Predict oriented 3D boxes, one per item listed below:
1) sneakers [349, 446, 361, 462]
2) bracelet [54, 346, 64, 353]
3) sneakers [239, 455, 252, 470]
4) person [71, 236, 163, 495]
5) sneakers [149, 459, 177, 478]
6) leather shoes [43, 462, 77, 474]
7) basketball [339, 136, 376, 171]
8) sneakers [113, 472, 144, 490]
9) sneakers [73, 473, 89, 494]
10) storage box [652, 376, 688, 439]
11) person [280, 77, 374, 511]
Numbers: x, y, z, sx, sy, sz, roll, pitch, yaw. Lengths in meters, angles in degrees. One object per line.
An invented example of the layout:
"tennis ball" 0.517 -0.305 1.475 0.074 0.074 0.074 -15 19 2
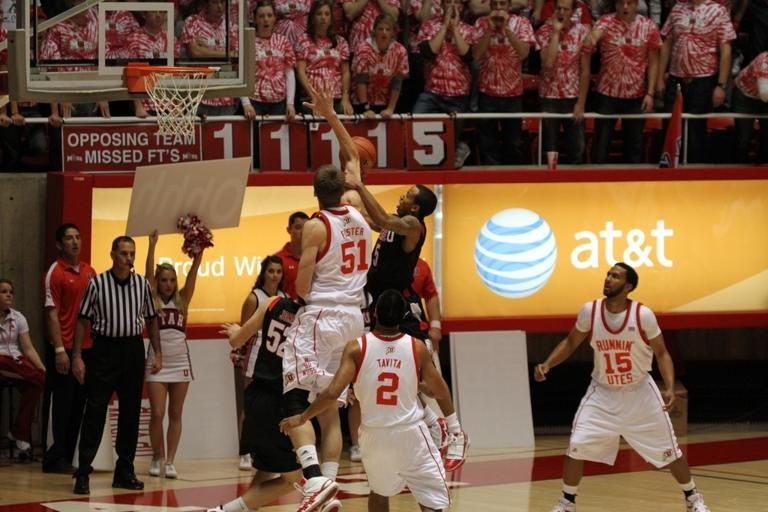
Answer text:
"sneakers" -0.338 2.360 11.409 0.119 0.155 0.330 2 -8 -10
"bracelet" -3.705 1.072 10.946 0.099 0.095 0.114 -3 7 -19
"sneakers" -1.623 2.436 11.387 0.157 0.218 0.498 1 -7 -5
"person" -2.946 1.171 10.518 0.941 2.734 0.607 -2 6 -14
"sneakers" -2.549 2.449 11.007 0.148 0.189 0.413 4 -8 -31
"leather shoes" -3.745 2.432 11.111 0.366 0.185 0.147 0 -3 -4
"basketball" -0.251 -0.944 9.746 0.370 0.411 0.295 8 -1 -27
"sneakers" -2.789 2.465 10.508 0.324 0.166 0.165 1 -2 9
"sneakers" -3.274 2.458 10.340 0.201 0.197 0.182 -1 6 -4
"storage box" 3.884 2.133 12.740 0.574 0.635 0.636 -6 -25 24
"person" -0.555 0.318 8.890 0.756 3.700 1.551 0 6 11
